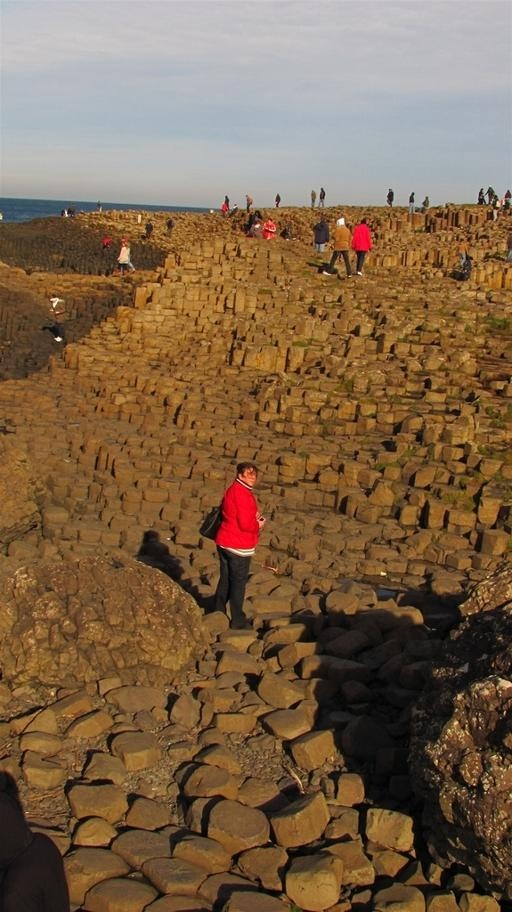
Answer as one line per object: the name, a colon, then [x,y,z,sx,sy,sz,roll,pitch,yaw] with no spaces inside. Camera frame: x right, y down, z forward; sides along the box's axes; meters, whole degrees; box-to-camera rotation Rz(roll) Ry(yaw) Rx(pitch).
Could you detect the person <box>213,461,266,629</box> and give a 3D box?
person: [-0.156,0.651,5.245,0.333,1.246,0.274,10,14,29]
